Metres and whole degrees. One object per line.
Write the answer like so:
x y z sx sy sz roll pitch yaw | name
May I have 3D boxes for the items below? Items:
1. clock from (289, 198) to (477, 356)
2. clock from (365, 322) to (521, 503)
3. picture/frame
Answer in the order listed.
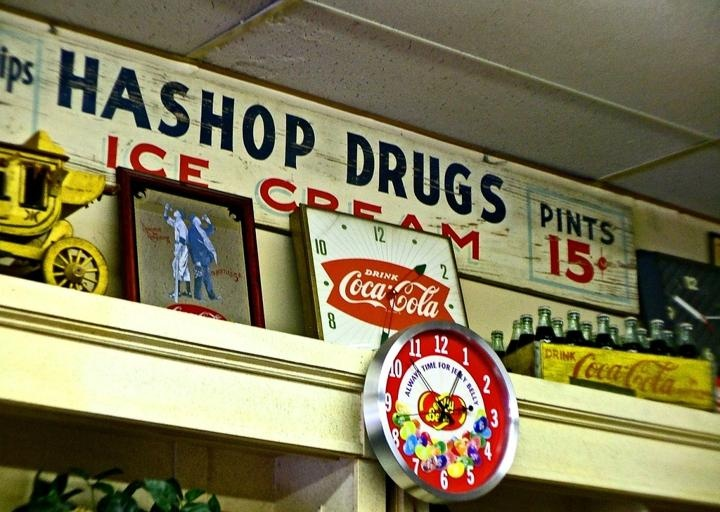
0.099 0.137 3.886 0.683 0.582 0.077 11 -28 -33 | clock
0.255 0.515 3.446 0.546 0.532 0.110 15 -32 -31 | clock
-0.560 0.009 3.585 0.496 0.581 0.043 12 -35 -33 | picture/frame
